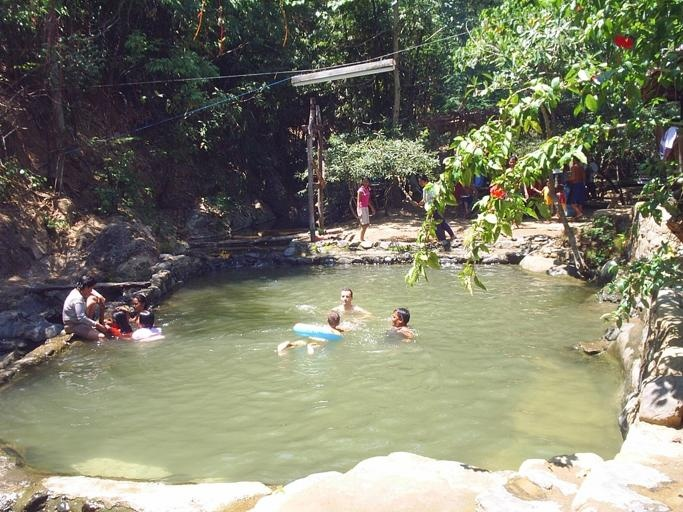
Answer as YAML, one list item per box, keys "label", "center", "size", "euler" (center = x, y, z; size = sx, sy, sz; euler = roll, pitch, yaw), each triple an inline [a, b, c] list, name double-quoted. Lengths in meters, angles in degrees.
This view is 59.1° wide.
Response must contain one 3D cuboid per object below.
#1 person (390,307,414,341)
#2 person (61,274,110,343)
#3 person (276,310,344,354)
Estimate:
- label: "person"
  center: [1.139, 1.386, 12.090]
  size: [0.361, 0.639, 0.741]
  euler: [3, -7, -11]
- label: "person"
  center: [-5.355, 1.095, 12.605]
  size: [1.058, 1.491, 1.337]
  euler: [-6, 31, -31]
- label: "person"
  center: [-0.574, 1.528, 11.665]
  size: [0.614, 0.568, 1.262]
  euler: [9, 14, 34]
